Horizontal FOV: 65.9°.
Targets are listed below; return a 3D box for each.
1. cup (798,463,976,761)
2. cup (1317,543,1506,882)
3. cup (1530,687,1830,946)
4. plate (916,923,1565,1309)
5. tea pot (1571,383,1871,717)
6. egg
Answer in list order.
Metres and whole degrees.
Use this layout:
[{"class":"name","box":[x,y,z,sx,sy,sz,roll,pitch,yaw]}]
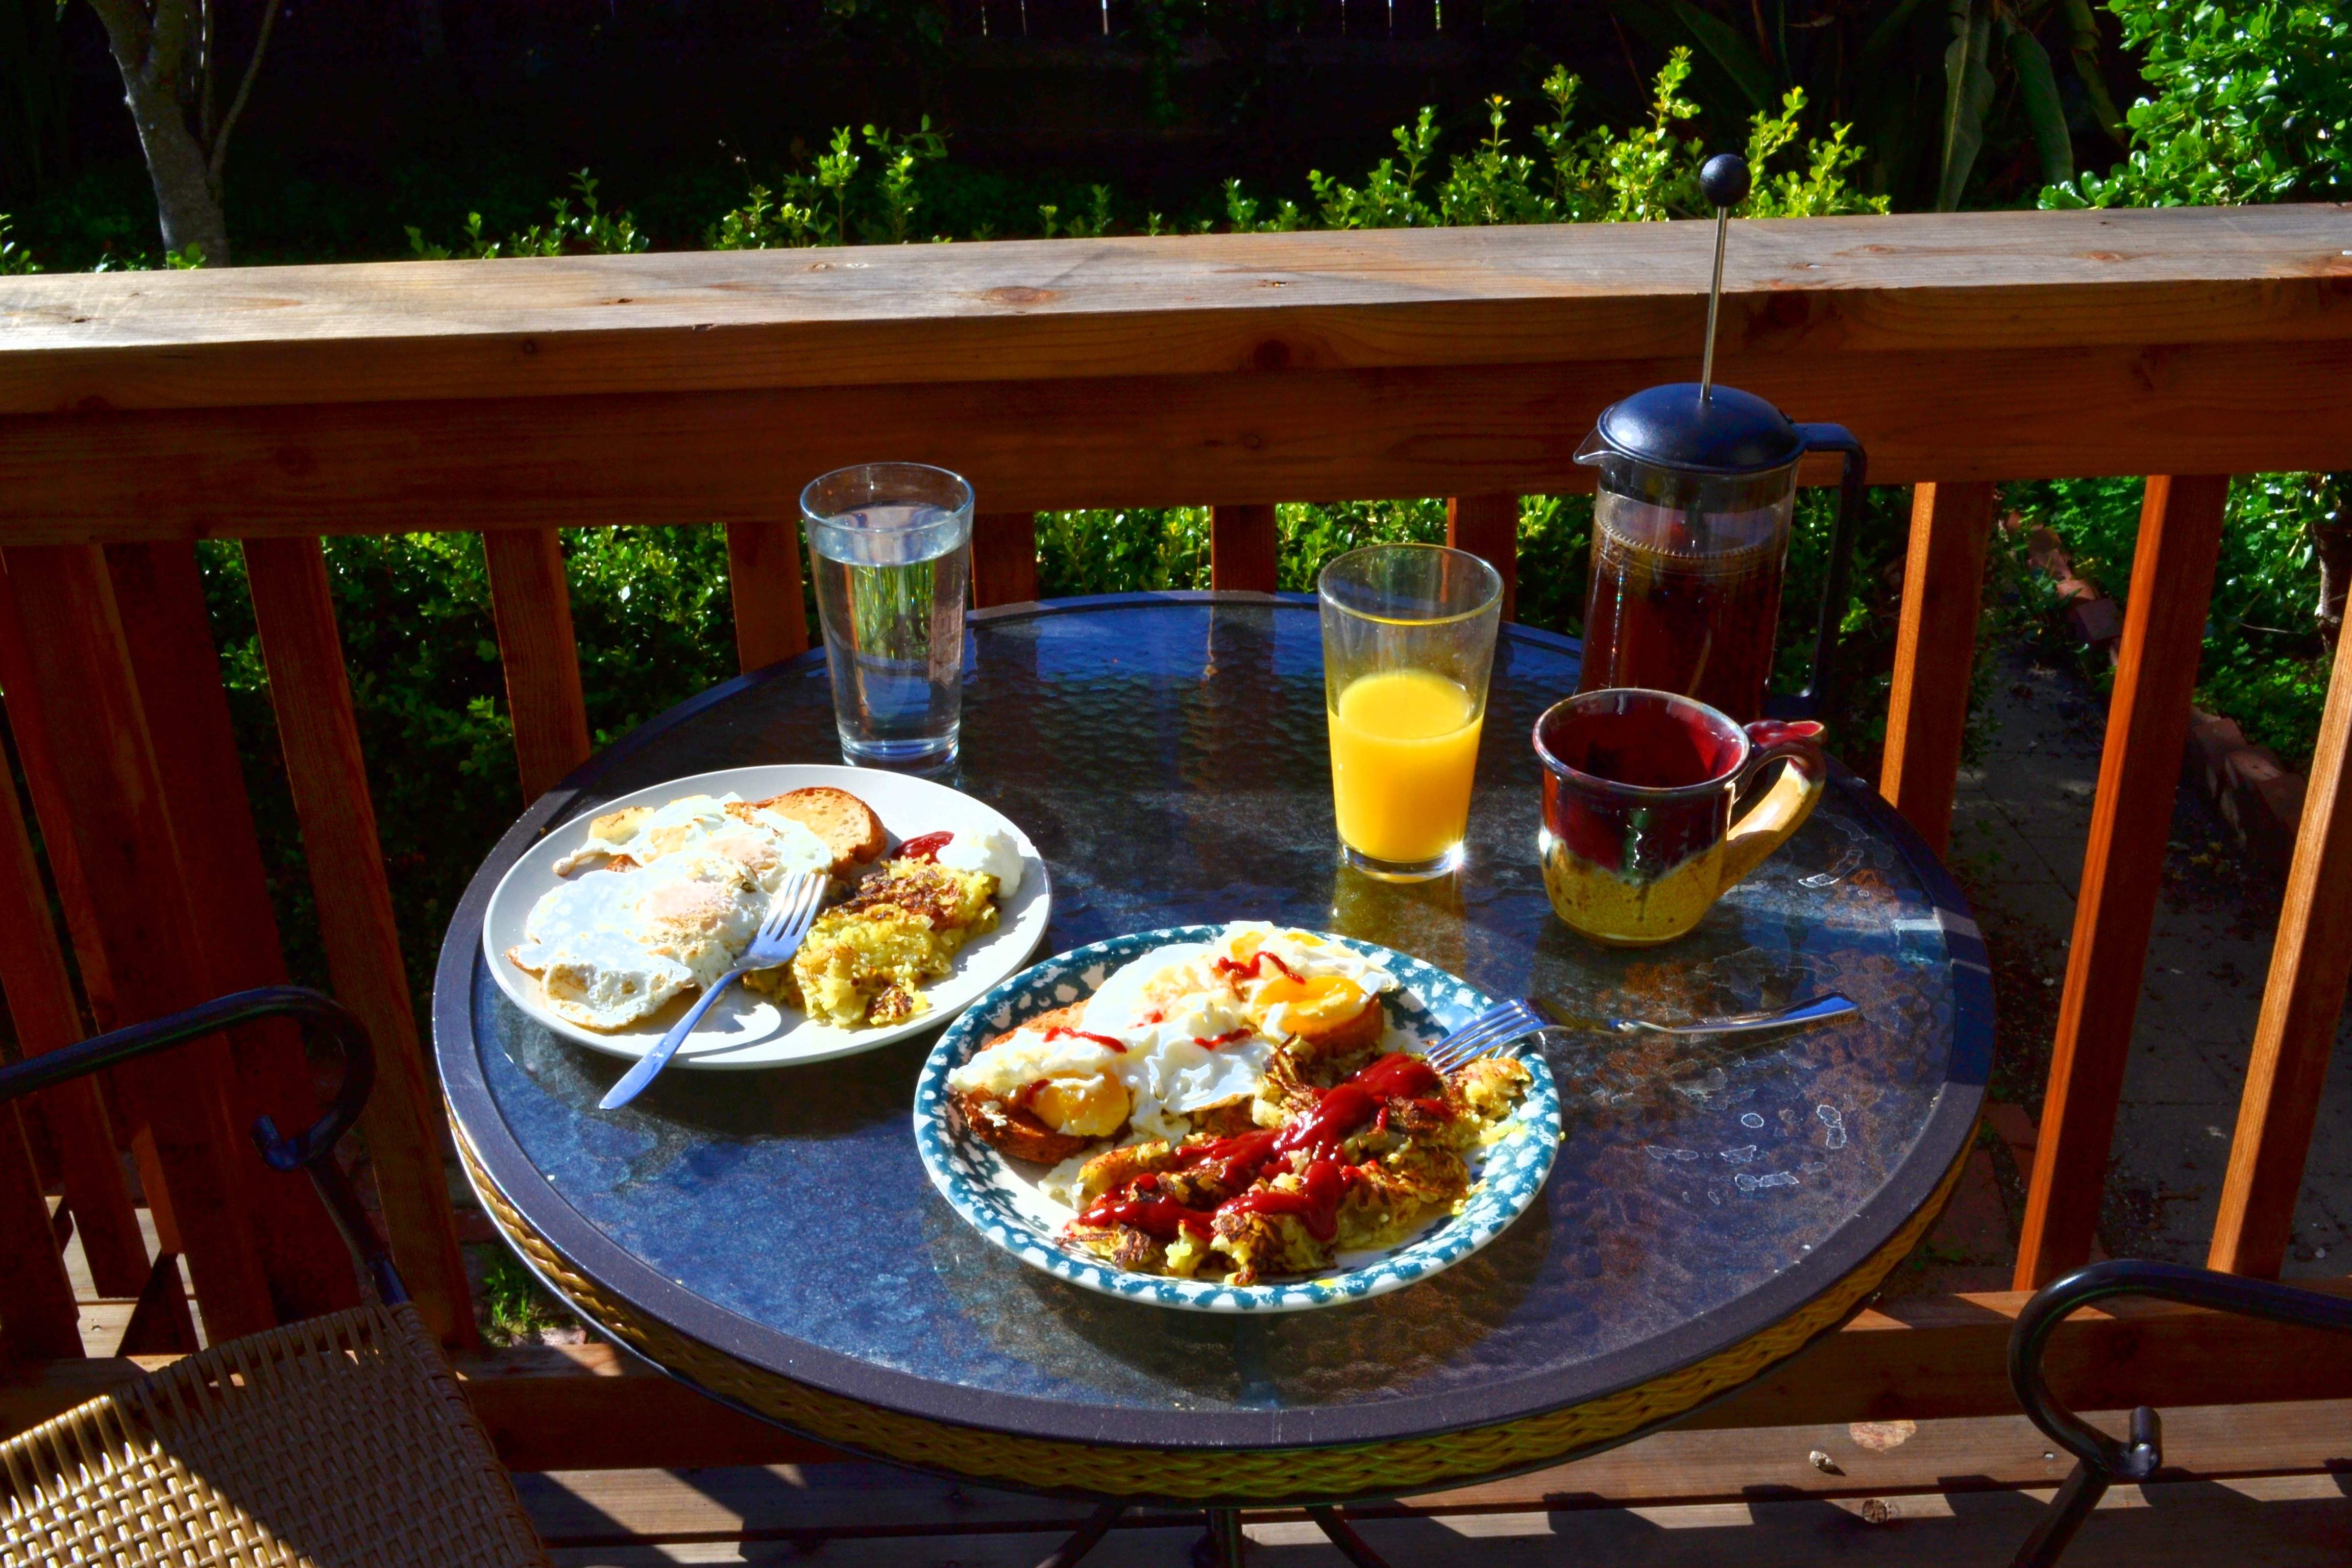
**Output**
[{"class":"cup","box":[-0.256,-0.152,1.709,0.167,0.265,0.159,-1,24,0]},{"class":"cup","box":[0.201,-0.053,1.593,0.178,0.258,0.166,0,29,0]},{"class":"cup","box":[0.415,0.028,1.485,0.244,0.162,0.150,-4,31,0]},{"class":"plate","box":[0.033,0.240,1.299,0.441,0.135,0.314,11,29,21]},{"class":"tea pot","box":[0.471,-0.182,1.604,0.271,0.326,0.154,-7,34,-10]},{"class":"egg","box":[-0.417,0.069,1.509,0.221,0.160,0.251,-20,24,-40]}]
